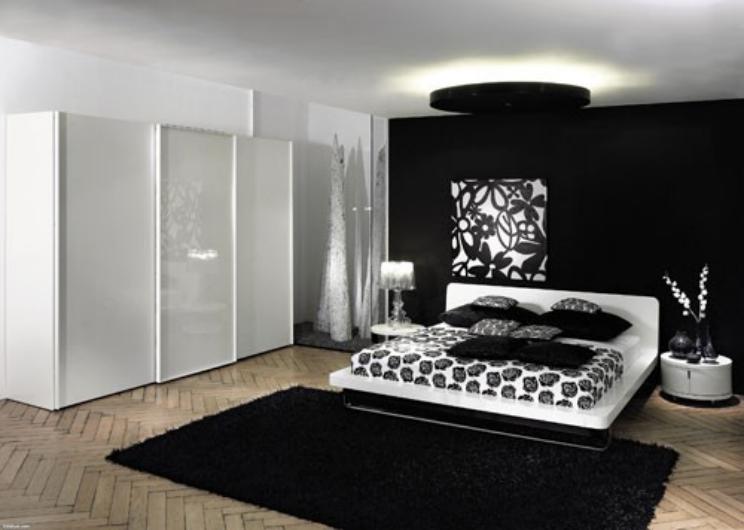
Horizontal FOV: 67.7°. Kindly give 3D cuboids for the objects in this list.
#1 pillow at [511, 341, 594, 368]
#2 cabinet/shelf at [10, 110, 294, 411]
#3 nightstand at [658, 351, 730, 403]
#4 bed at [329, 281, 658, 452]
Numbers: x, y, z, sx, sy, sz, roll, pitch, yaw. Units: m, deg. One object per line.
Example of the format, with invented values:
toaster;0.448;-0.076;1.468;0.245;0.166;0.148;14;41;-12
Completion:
pillow;1.576;0.763;4.820;0.346;0.106;0.315;1;6;37
cabinet/shelf;-2.332;0.006;5.717;1.152;2.693;3.331;1;1;33
nightstand;3.258;1.090;5.618;0.686;0.398;0.663;-4;6;-18
bed;1.420;1.029;5.366;1.892;0.648;1.811;1;2;35
